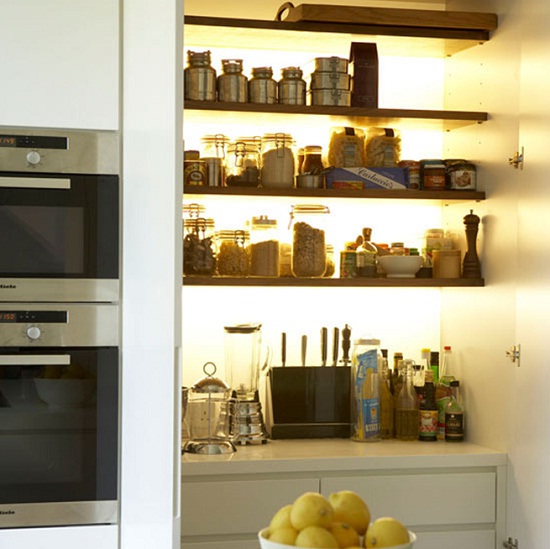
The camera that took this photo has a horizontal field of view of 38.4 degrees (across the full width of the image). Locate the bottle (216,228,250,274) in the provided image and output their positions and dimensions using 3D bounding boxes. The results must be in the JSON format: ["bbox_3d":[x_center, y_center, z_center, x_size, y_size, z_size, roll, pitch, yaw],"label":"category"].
[{"bbox_3d":[-0.140,-0.074,2.594,0.107,0.188,0.145,1,-4,-5],"label":"bottle"}]

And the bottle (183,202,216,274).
[{"bbox_3d":[-0.248,-0.116,2.578,0.143,0.304,0.191,0,-5,-7],"label":"bottle"}]

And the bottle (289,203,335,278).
[{"bbox_3d":[0.115,-0.115,2.674,0.134,0.249,0.125,-2,-4,0],"label":"bottle"}]

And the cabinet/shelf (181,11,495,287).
[{"bbox_3d":[0.193,-0.429,2.696,0.816,0.823,0.315,1,-2,-10],"label":"cabinet/shelf"}]

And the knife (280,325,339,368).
[{"bbox_3d":[0.151,0.258,2.910,0.141,0.166,0.047,-4,-5,2],"label":"knife"}]

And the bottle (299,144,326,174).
[{"bbox_3d":[0.133,-0.404,2.815,0.085,0.144,0.091,-1,-1,0],"label":"bottle"}]

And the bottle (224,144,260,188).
[{"bbox_3d":[-0.107,-0.365,2.625,0.107,0.144,0.130,1,-4,-1],"label":"bottle"}]

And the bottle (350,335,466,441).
[{"bbox_3d":[0.463,0.412,2.751,0.273,0.300,0.128,2,-6,-11],"label":"bottle"}]

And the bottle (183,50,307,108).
[{"bbox_3d":[-0.142,-0.642,2.613,0.313,0.187,0.111,-1,-4,-9],"label":"bottle"}]

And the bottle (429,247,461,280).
[{"bbox_3d":[0.592,-0.039,2.740,0.085,0.099,0.094,0,-4,2],"label":"bottle"}]

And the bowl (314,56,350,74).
[{"bbox_3d":[0.201,-0.712,2.670,0.134,0.065,0.050,0,-4,-24],"label":"bowl"}]

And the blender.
[{"bbox_3d":[-0.101,0.374,2.671,0.130,0.376,0.084,-1,-4,-3],"label":"blender"}]

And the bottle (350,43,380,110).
[{"bbox_3d":[0.301,-0.686,2.701,0.095,0.238,0.047,-2,-4,5],"label":"bottle"}]
